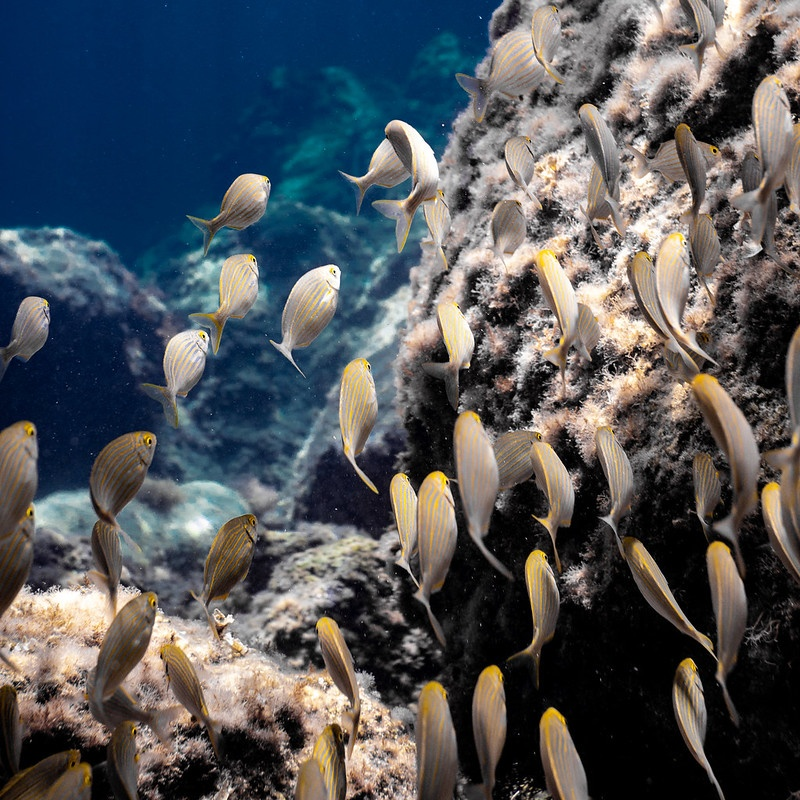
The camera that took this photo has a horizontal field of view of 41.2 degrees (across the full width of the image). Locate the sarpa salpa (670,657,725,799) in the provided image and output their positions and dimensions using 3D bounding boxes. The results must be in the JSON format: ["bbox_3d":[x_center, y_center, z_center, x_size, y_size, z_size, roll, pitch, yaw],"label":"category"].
[{"bbox_3d":[2.784,3.065,10.116,0.315,1.219,0.591,-8,10,-32],"label":"sarpa salpa"}]

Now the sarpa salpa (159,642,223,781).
[{"bbox_3d":[-2.104,3.043,10.715,0.520,1.318,0.335,-4,8,-6],"label":"sarpa salpa"}]
